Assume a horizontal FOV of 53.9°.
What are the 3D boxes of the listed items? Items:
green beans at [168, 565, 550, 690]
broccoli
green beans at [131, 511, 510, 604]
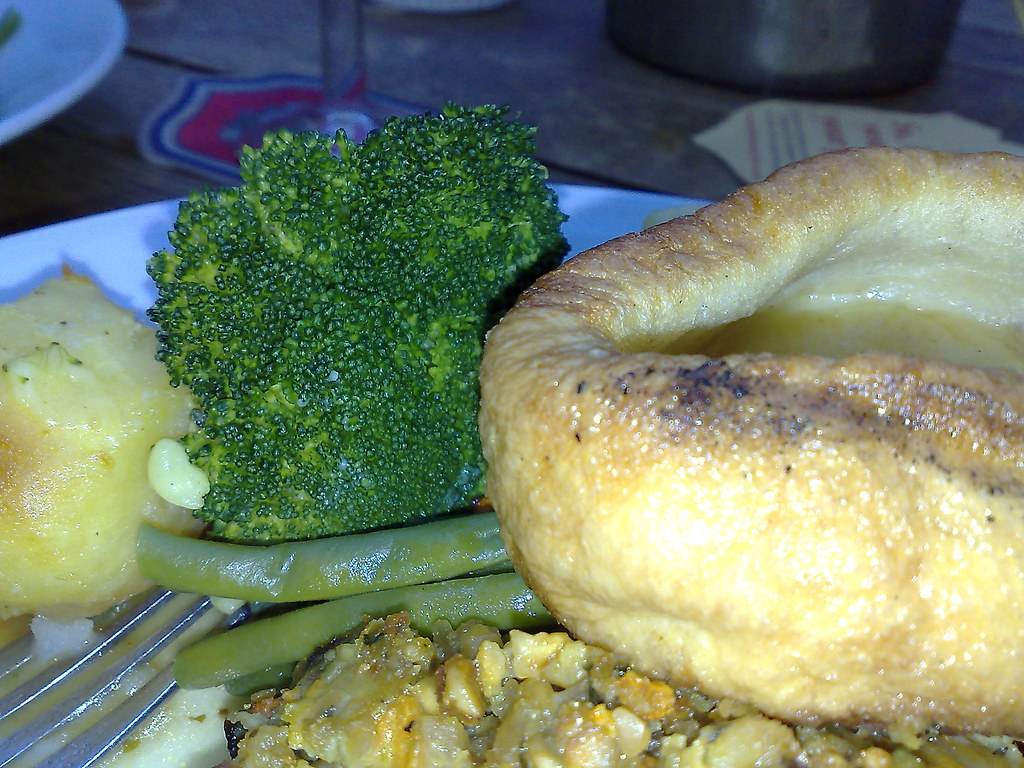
[{"bbox_3d":[-0.149,0.259,1.072,0.450,0.065,0.075,-11,45,-1],"label":"green beans"},{"bbox_3d":[-0.170,-0.075,1.134,0.448,0.232,0.475,-2,95,-26],"label":"broccoli"},{"bbox_3d":[-0.200,0.193,1.114,0.337,0.045,0.057,-2,18,2],"label":"green beans"}]
